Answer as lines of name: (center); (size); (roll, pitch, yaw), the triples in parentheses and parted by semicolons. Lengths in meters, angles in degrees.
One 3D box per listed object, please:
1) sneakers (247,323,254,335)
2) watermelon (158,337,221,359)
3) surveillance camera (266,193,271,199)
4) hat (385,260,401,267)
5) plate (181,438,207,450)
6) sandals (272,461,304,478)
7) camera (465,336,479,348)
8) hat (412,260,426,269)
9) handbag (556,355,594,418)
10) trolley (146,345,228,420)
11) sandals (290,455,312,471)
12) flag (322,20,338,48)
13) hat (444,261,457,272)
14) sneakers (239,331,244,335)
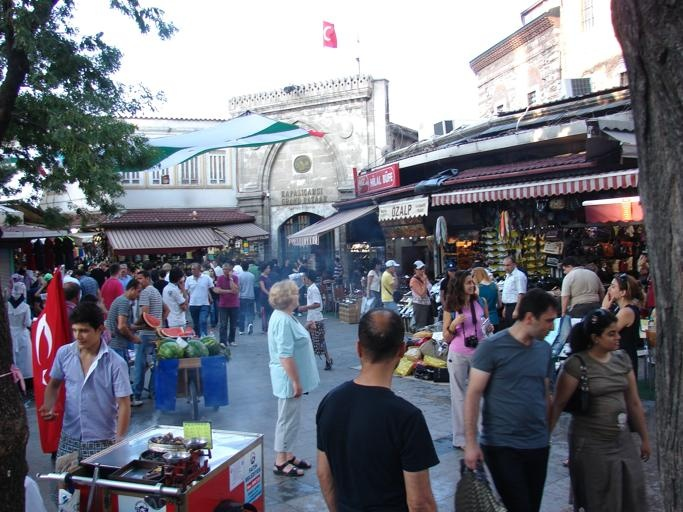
sneakers: (-2.331, 1.880, 14.935); (0.099, 0.314, 0.129); (5, 18, -1)
watermelon: (-2.046, 1.265, 7.980); (0.674, 0.260, 0.335); (3, -12, -28)
surveillance camera: (-3.344, -2.729, 26.611); (0.205, 0.394, 0.209); (0, -7, -7)
hat: (1.109, 0.186, 12.590); (0.309, 0.161, 0.209); (1, 5, -4)
plate: (-1.014, 1.325, 4.085); (0.160, 0.054, 0.153); (-2, -1, -18)
sandals: (-0.559, 2.239, 6.137); (0.274, 0.123, 0.138); (0, 0, 1)
camera: (1.453, 0.949, 6.458); (0.172, 0.132, 0.127); (-2, -1, -5)
hat: (1.500, 0.172, 11.261); (0.165, 0.148, 0.251); (-2, -3, -18)
handbag: (1.815, 1.014, 4.642); (0.273, 0.510, 0.339); (0, -6, 33)
trolley: (-1.980, 1.659, 7.791); (1.129, 0.816, 0.742); (0, 2, 7)
sandals: (-0.421, 2.206, 6.209); (0.286, 0.118, 0.100); (0, 2, 1)
flag: (-0.502, -9.917, 26.454); (0.543, 1.022, 0.849); (-2, -1, -6)
hat: (2.374, 0.229, 12.690); (0.268, 0.218, 0.445); (-8, -4, 3)
sneakers: (-2.562, 1.980, 15.028); (0.070, 0.124, 0.121); (0, -11, -2)
